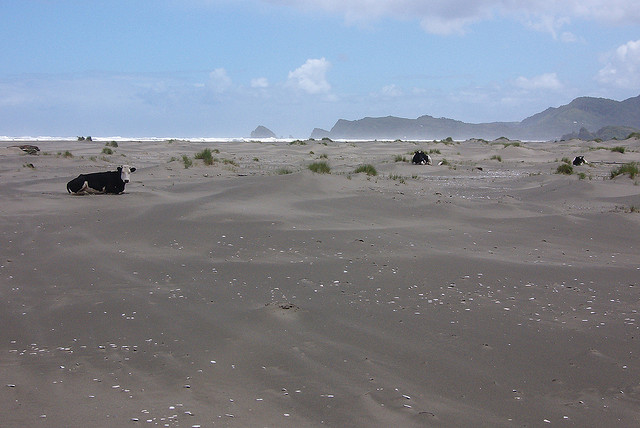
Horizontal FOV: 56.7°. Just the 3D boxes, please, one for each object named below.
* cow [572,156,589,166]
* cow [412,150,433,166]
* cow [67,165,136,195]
[{"bbox_3d":[9.709,-1.999,22.174,0.880,0.405,0.277,-4,9,-33],"label":"cow"},{"bbox_3d":[3.842,-2.185,22.785,0.856,0.511,0.507,-4,9,-34],"label":"cow"},{"bbox_3d":[-4.748,-0.722,12.899,1.632,0.622,0.540,-2,8,-17],"label":"cow"}]
